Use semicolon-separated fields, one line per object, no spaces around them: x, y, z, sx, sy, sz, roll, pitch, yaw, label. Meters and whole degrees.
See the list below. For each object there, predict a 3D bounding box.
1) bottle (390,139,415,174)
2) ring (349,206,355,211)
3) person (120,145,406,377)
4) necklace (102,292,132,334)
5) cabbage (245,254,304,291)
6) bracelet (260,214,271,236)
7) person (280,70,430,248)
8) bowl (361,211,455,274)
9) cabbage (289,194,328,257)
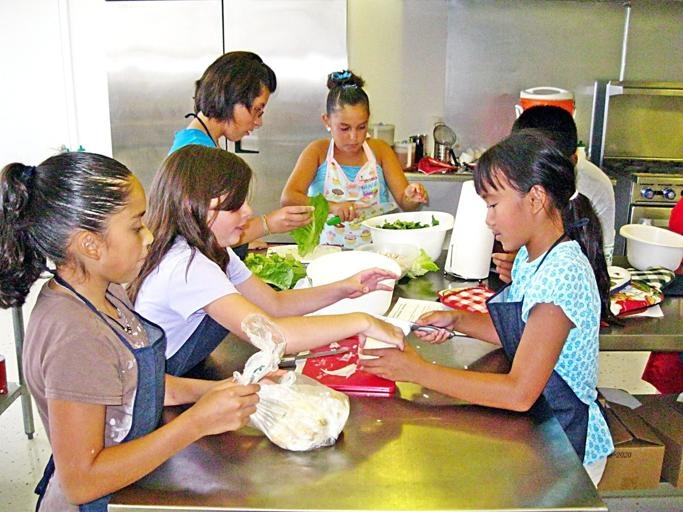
0.552;-0.843;4.582;0.276;0.297;0.266;3;17;13;bottle
0.054;-0.240;2.722;0.029;0.025;0.006;-2;-7;6;ring
-0.209;0.084;1.736;1.012;0.811;0.519;3;20;16;person
-0.593;0.160;1.455;0.021;0.075;0.056;-35;2;5;necklace
-0.286;0.033;2.242;0.190;0.048;0.172;19;14;23;cabbage
-0.334;-0.136;2.412;0.029;0.076;0.058;-13;14;-16;bracelet
0.073;-0.377;3.334;0.818;1.356;0.716;-5;46;-4;person
0.325;-0.125;2.530;0.385;0.148;0.291;-3;7;6;bowl
-0.114;-0.156;2.552;0.183;0.283;0.076;-13;-38;40;cabbage
